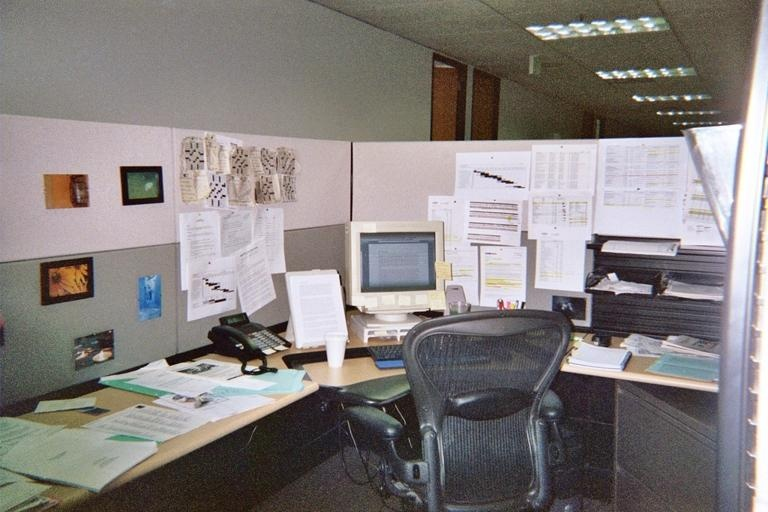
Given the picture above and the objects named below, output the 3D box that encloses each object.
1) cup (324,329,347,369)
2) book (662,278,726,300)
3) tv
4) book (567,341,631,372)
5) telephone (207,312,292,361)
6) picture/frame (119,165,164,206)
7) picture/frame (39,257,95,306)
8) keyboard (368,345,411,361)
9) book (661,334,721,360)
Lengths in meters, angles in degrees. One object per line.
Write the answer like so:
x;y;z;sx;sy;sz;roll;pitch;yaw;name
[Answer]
-0.197;0.404;2.361;0.148;0.132;0.134;3;4;-7;cup
1.371;0.155;2.448;0.225;0.077;0.115;1;8;24;book
0.013;0.086;2.776;0.564;0.477;0.310;-1;1;-33;tv
0.921;0.429;2.354;0.230;0.039;0.276;1;8;28;book
-0.577;0.341;2.372;0.262;0.097;0.250;14;10;25;telephone
-0.928;-0.272;2.115;0.180;0.143;0.008;1;6;16;picture/frame
-1.107;0.085;1.936;0.209;0.152;0.018;-9;-13;8;picture/frame
0.009;0.425;2.414;0.145;0.039;0.173;-3;7;-7;keyboard
1.348;0.389;2.408;0.205;0.044;0.209;2;8;34;book
